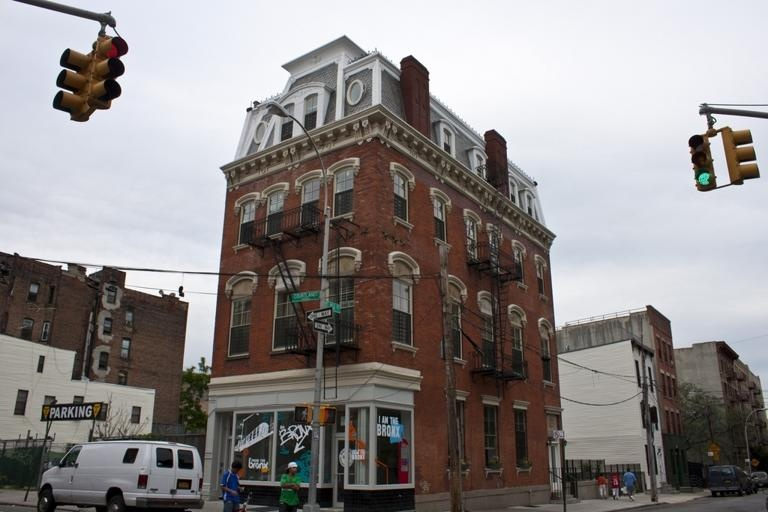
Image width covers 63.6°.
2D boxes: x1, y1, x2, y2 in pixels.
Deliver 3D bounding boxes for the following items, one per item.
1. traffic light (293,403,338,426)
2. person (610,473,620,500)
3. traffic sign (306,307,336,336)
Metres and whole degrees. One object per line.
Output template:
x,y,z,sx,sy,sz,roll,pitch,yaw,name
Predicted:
-2.897,6.571,25.852,1.620,0.807,0.752,3,-22,-10,traffic light
16.640,16.576,44.454,0.489,1.587,1.488,-7,-23,16,person
-2.678,2.616,26.152,1.038,1.082,0.863,3,-22,-9,traffic sign
